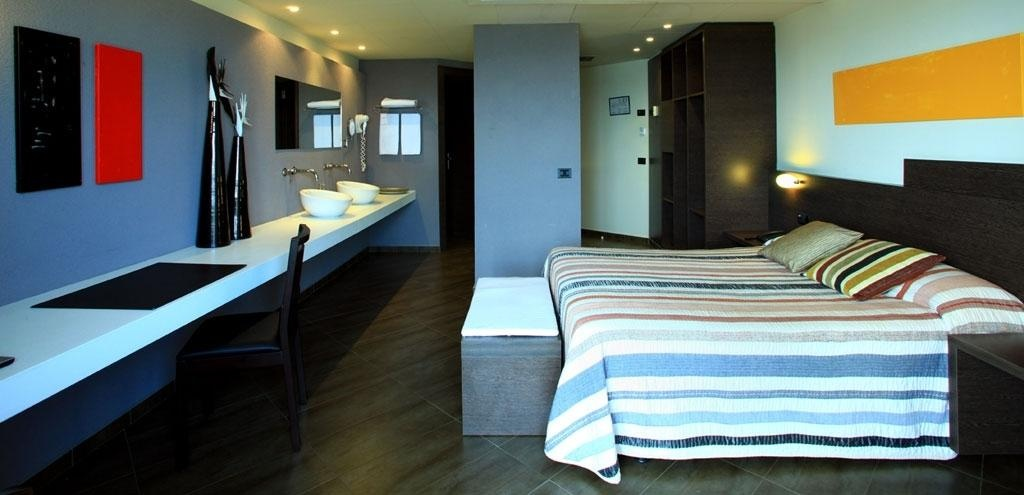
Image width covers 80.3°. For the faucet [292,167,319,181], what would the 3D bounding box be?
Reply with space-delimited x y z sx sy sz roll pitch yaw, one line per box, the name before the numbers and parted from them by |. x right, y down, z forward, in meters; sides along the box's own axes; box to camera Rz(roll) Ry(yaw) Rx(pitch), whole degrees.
faucet | -2.449 -0.905 7.265 0.178 0.205 0.433 0 14 1

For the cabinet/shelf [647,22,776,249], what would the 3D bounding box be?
cabinet/shelf | 2.515 -1.472 7.518 0.960 2.552 2.920 -1 7 7

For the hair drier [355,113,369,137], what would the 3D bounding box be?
hair drier | -2.156 -1.822 8.750 0.154 0.277 0.223 9 10 4

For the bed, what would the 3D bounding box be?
bed | 1.968 0.867 4.972 2.845 0.744 2.145 0 11 3

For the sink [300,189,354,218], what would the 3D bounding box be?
sink | -2.110 -0.512 6.865 0.504 0.199 0.463 0 12 -10

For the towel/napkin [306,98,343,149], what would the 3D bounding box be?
towel/napkin | -2.391 -1.611 7.693 0.125 0.675 0.773 6 14 15

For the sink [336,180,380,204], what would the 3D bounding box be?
sink | -2.000 -0.732 7.804 0.472 0.168 0.407 2 15 -10

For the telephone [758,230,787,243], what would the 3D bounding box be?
telephone | 2.748 -0.105 6.483 0.215 0.043 0.188 -23 7 -26
